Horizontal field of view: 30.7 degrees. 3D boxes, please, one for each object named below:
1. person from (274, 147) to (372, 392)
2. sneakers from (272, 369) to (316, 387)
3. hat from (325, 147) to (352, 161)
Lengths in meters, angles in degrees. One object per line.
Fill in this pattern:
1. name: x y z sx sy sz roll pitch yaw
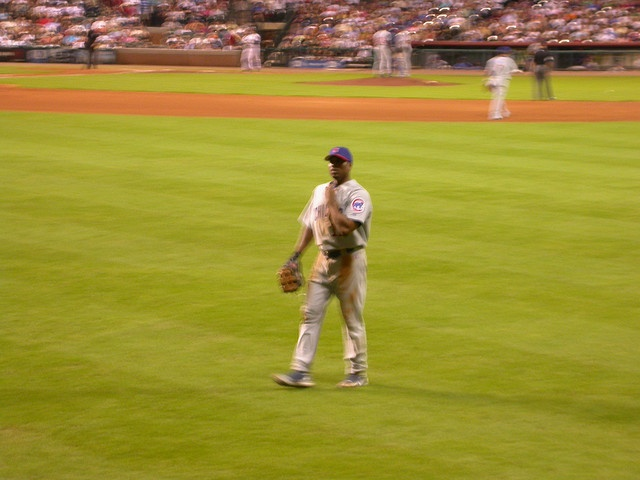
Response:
1. person: 0.108 0.371 13.999 1.131 2.971 0.712 4 14 -1
2. sneakers: -0.328 1.715 14.016 0.609 0.144 0.187 4 -3 -18
3. hat: 0.281 -1.006 13.847 0.324 0.097 0.229 13 -6 -41
